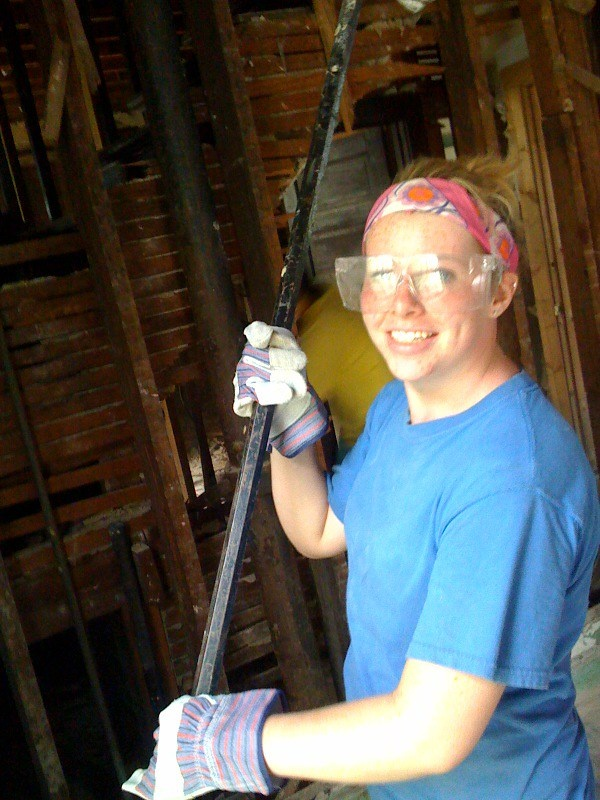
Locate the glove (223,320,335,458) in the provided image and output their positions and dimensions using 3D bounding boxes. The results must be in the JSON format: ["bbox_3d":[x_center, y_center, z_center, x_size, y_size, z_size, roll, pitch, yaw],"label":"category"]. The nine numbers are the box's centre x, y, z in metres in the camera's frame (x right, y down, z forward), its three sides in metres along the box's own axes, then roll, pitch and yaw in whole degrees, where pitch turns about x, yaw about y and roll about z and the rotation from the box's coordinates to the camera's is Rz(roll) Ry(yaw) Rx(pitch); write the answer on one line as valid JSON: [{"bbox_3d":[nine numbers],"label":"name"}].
[{"bbox_3d":[-0.029,-0.051,1.813,0.113,0.304,0.218,-23,52,-29],"label":"glove"}]

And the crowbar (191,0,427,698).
[{"bbox_3d":[-0.016,-0.189,2.556,0.091,3.677,0.124,6,-10,21],"label":"crowbar"}]
